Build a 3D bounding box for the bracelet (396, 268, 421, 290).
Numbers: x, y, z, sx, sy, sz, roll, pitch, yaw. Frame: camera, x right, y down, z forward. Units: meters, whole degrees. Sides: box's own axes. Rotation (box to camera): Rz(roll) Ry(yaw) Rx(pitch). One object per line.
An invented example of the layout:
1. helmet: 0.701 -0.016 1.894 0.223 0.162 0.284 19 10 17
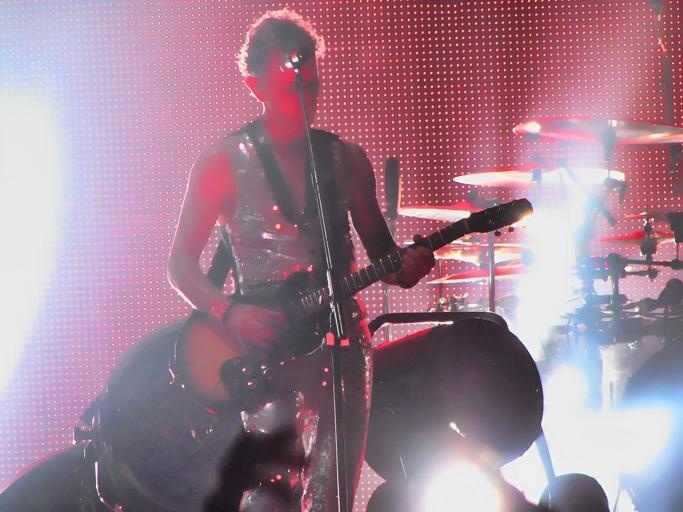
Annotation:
1. bracelet: 0.304 0.114 3.353 0.095 0.030 0.076 8 -34 6
